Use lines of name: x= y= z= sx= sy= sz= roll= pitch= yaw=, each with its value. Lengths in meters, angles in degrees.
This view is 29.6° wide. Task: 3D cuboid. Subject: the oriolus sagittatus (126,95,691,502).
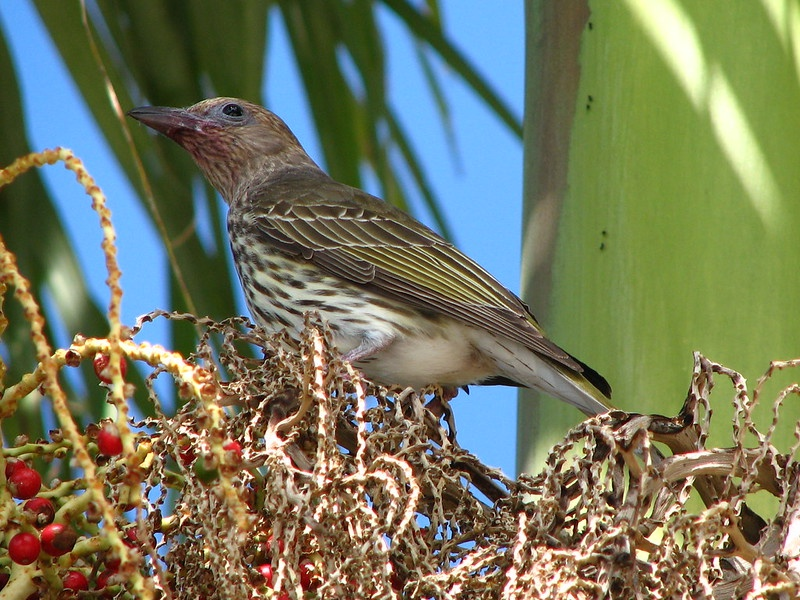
oriolus sagittatus: x=-0.069 y=-0.126 z=4.958 sx=1.725 sy=1.025 sz=0.543 roll=6 pitch=-15 yaw=6
